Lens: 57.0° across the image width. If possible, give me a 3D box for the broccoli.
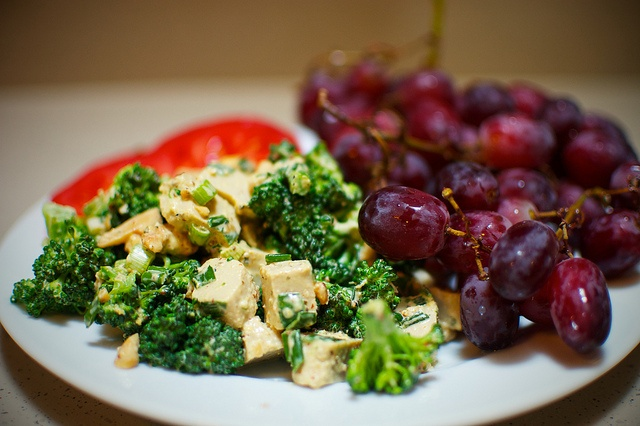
[{"bbox_3d":[-0.250,0.189,1.590,0.840,0.268,0.665,-3,38,-6],"label":"broccoli"}]
